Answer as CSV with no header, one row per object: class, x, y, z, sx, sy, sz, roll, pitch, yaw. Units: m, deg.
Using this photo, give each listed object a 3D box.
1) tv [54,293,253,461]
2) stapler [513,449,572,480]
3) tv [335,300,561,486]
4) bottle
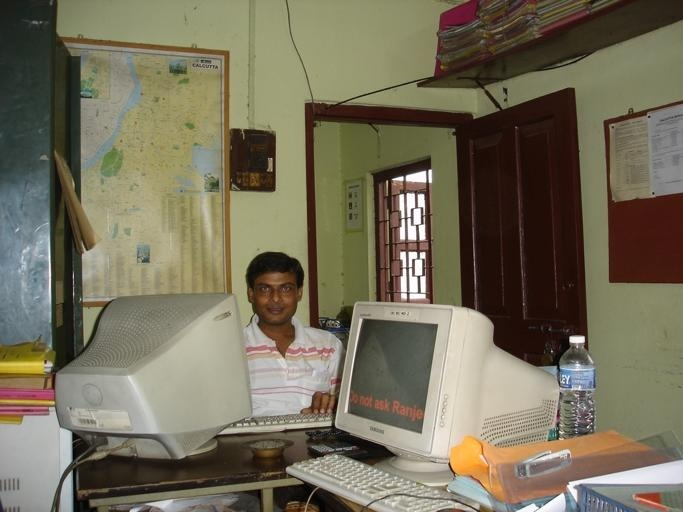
tv,-0.662,0.418,1.963,0.567,0.568,0.437,0,8,21
stapler,0.569,0.583,1.579,0.182,0.055,0.038,0,3,-20
tv,0.382,0.476,2.048,0.672,0.559,0.674,3,-5,-22
bottle,0.835,0.493,2.035,0.159,0.458,0.161,1,-5,0
